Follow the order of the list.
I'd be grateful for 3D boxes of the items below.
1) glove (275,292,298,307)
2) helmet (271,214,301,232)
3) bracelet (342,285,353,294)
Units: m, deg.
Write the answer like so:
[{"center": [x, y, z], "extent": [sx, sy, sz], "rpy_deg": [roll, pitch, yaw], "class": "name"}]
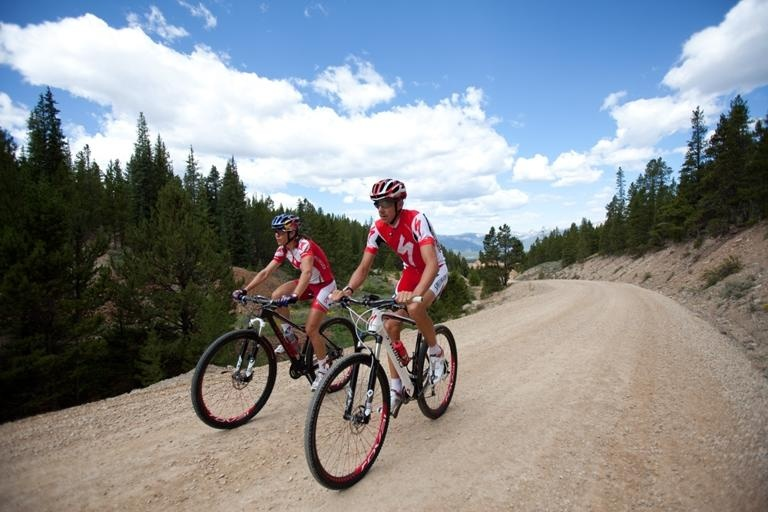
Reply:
[{"center": [-2.874, 1.312, 13.982], "extent": [0.627, 0.367, 0.501], "rpy_deg": [-2, 5, -8], "class": "glove"}, {"center": [-3.042, -1.030, 14.778], "extent": [0.504, 0.372, 0.687], "rpy_deg": [0, 2, 41], "class": "helmet"}, {"center": [-0.974, 0.940, 13.160], "extent": [0.204, 0.099, 0.218], "rpy_deg": [4, -18, 31], "class": "bracelet"}]
